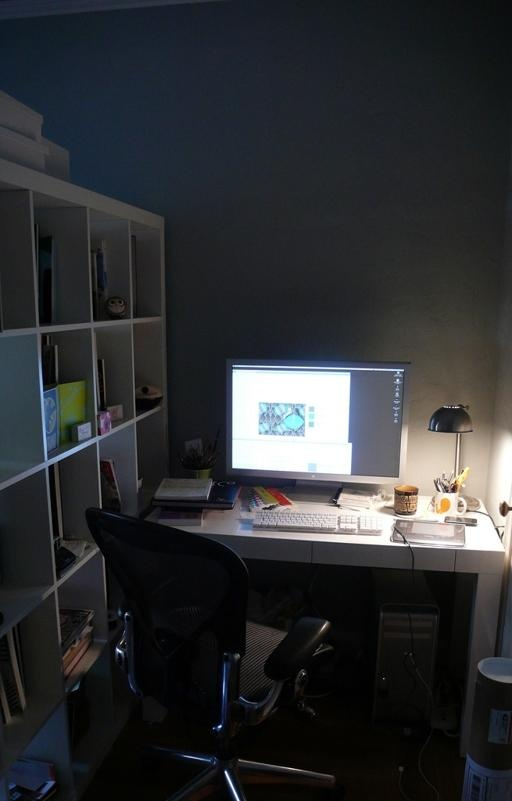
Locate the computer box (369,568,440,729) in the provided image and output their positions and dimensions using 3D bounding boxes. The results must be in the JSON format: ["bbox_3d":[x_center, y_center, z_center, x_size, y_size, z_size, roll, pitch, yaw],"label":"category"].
[{"bbox_3d":[0.484,0.898,2.193,0.246,0.489,0.429,2,4,0],"label":"computer box"}]

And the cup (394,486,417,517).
[{"bbox_3d":[0.529,0.351,2.122,0.078,0.100,0.087,1,4,13],"label":"cup"}]

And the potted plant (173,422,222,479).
[{"bbox_3d":[-0.237,0.177,2.423,0.172,0.278,0.197,0,6,-10],"label":"potted plant"}]

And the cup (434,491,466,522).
[{"bbox_3d":[0.682,0.367,2.118,0.106,0.103,0.070,10,3,32],"label":"cup"}]

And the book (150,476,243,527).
[{"bbox_3d":[-0.228,0.357,2.136,0.177,0.068,0.190,1,16,12],"label":"book"}]

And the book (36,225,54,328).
[{"bbox_3d":[-0.570,-0.341,1.634,0.040,0.267,0.179,-1,9,-18],"label":"book"}]
